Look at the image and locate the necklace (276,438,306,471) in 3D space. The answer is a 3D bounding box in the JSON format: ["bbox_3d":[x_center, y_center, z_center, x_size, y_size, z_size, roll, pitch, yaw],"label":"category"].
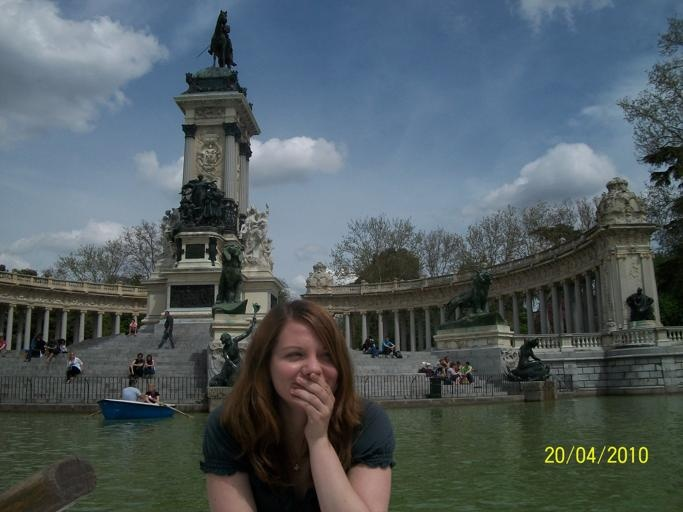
[{"bbox_3d":[-0.290,1.101,2.853,0.153,0.212,0.074,0,-1,-5],"label":"necklace"}]

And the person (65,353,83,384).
[{"bbox_3d":[-11.678,4.838,22.323,0.549,1.228,1.424,5,-12,-27],"label":"person"}]

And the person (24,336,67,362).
[{"bbox_3d":[-16.023,5.045,27.741,1.586,0.826,2.225,4,-11,-15],"label":"person"}]

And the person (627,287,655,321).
[{"bbox_3d":[16.899,2.715,28.864,1.132,1.909,1.551,-6,-12,29],"label":"person"}]
